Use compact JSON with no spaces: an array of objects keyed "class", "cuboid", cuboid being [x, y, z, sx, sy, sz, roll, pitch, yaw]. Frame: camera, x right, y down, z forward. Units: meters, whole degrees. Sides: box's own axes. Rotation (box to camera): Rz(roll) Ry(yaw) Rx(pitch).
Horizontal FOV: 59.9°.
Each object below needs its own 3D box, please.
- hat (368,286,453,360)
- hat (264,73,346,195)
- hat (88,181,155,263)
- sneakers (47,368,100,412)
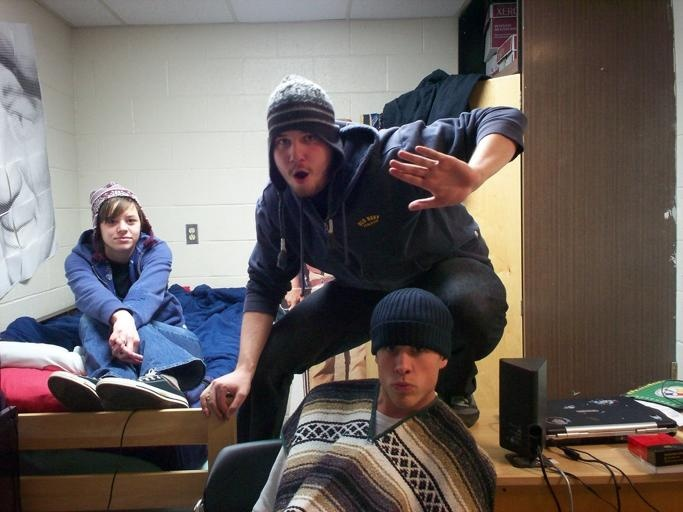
[{"class":"hat","cuboid":[0.205,0.205,1.728,0.222,0.219,0.267,3,-20,13]},{"class":"hat","cuboid":[-0.122,-0.410,2.000,0.247,0.383,0.200,1,6,-5]},{"class":"hat","cuboid":[-0.931,-0.130,2.532,0.265,0.345,0.247,-16,-14,-6]},{"class":"sneakers","cuboid":[-0.853,0.435,1.911,0.151,0.157,0.129,0,6,-23]}]
